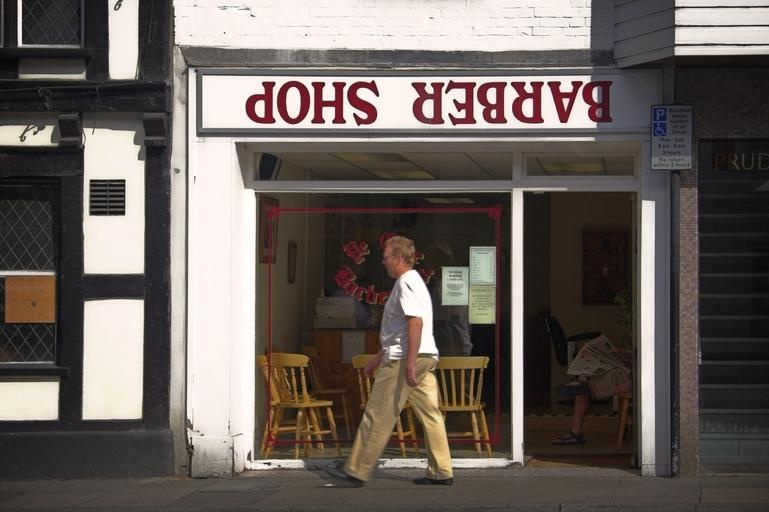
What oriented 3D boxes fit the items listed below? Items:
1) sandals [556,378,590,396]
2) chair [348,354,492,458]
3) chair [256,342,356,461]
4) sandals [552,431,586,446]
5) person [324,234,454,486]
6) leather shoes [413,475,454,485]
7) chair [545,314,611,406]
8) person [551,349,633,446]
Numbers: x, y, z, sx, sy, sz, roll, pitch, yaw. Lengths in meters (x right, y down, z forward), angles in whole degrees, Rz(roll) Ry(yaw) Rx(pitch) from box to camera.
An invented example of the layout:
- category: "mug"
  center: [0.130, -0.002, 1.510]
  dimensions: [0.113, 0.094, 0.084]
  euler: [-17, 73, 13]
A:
- category: "sandals"
  center: [2.370, 1.618, 15.106]
  dimensions: [0.327, 0.146, 0.211]
  euler: [3, 0, 0]
- category: "chair"
  center: [0.463, 1.496, 14.697]
  dimensions: [1.596, 1.624, 1.111]
  euler: [0, 0, 6]
- category: "chair"
  center: [-0.918, 1.719, 14.714]
  dimensions: [1.120, 1.572, 1.248]
  euler: [0, -4, -3]
- category: "sandals"
  center: [2.309, 2.252, 15.242]
  dimensions: [0.417, 0.179, 0.155]
  euler: [2, -3, 2]
- category: "person"
  center: [0.155, 1.129, 13.212]
  dimensions: [1.107, 2.691, 0.563]
  euler: [-1, -5, 3]
- category: "leather shoes"
  center: [0.531, 2.435, 13.321]
  dimensions: [0.397, 0.147, 0.148]
  euler: [3, 0, 12]
- category: "chair"
  center: [2.643, 1.445, 16.632]
  dimensions: [0.976, 1.398, 1.102]
  euler: [-9, -12, 4]
- category: "person"
  center: [2.650, 1.747, 15.032]
  dimensions: [1.087, 1.138, 0.478]
  euler: [-5, -6, 44]
